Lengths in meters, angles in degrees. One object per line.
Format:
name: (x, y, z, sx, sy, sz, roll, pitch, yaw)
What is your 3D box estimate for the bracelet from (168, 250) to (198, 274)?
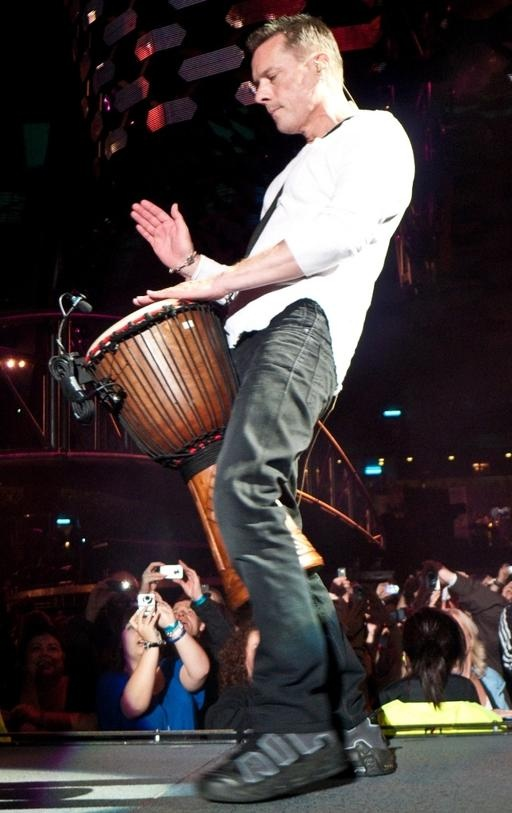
bracelet: (-0.275, -0.555, 2.239, 0.098, 0.029, 0.093, -32, 18, 23)

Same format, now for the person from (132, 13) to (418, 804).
person: (0.104, 0.044, 1.549, 0.640, 1.495, 0.942, -5, 2, 20)

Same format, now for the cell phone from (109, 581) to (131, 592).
cell phone: (-1.192, 1.554, 5.193, 0.132, 0.107, 0.124, 2, -6, -38)
